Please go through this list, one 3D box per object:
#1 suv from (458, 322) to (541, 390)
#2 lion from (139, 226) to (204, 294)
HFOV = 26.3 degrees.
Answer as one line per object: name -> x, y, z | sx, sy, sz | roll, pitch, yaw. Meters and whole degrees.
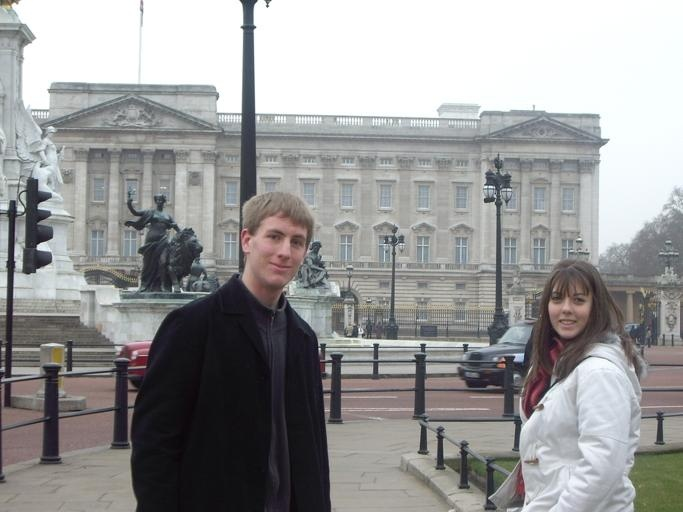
suv -> 4.530, 3.094, 45.131 | 3.427, 1.608, 1.626 | 6, -9, -40
lion -> -5.852, 0.178, 51.792 | 1.868, 2.539, 1.703 | -1, 3, 21
